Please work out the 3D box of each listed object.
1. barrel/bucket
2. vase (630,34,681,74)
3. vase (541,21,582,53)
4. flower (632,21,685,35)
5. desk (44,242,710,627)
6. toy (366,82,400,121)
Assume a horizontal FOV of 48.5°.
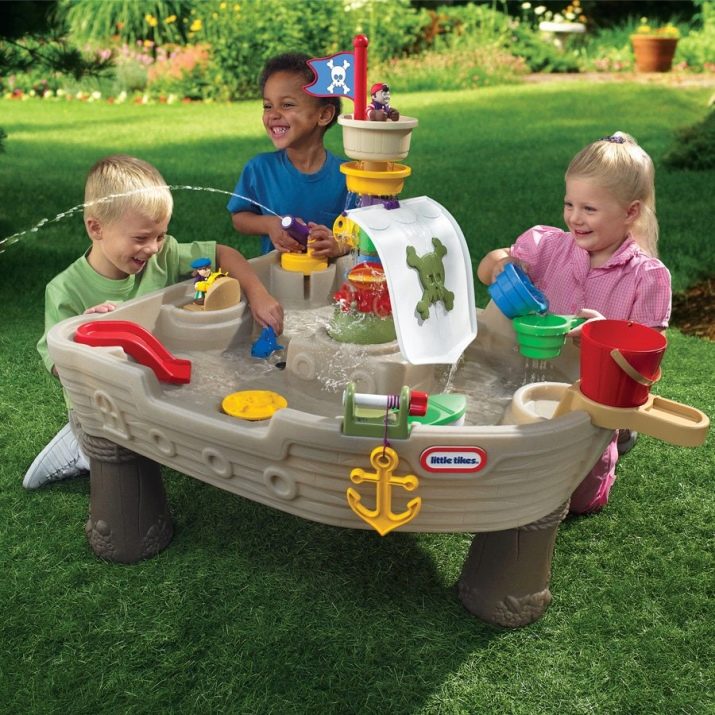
[{"bbox_3d":[0.540,0.002,1.626,0.234,0.124,0.207,7,21,19],"label":"barrel/bucket"},{"bbox_3d":[3.063,-3.131,8.229,0.478,0.277,0.480,15,24,40],"label":"vase"},{"bbox_3d":[2.029,-3.247,8.016,0.375,0.159,0.301,-2,21,-2],"label":"vase"},{"bbox_3d":[3.091,-3.363,8.162,0.317,0.079,0.230,17,28,37],"label":"flower"},{"bbox_3d":[-0.059,0.289,1.903,1.443,0.700,0.461,14,31,27],"label":"desk"},{"bbox_3d":[0.063,-0.605,1.873,0.073,0.078,0.158,2,24,1],"label":"toy"}]
